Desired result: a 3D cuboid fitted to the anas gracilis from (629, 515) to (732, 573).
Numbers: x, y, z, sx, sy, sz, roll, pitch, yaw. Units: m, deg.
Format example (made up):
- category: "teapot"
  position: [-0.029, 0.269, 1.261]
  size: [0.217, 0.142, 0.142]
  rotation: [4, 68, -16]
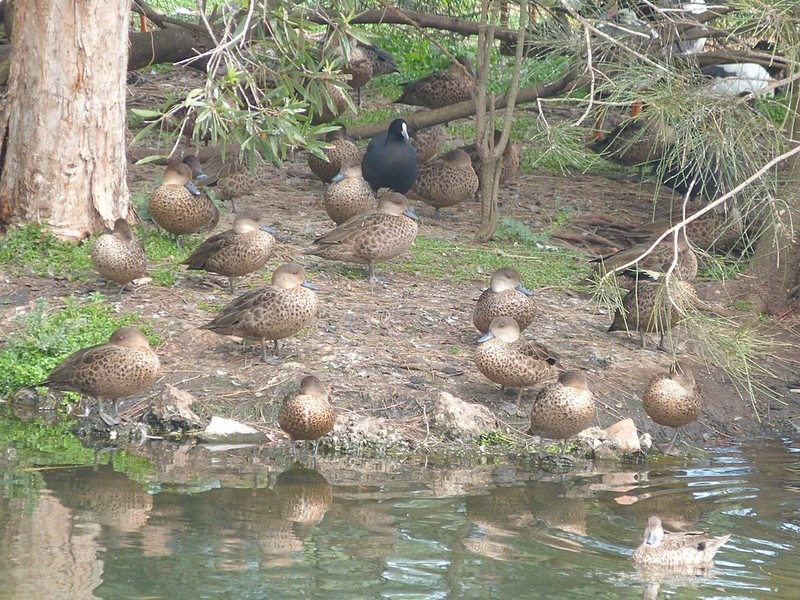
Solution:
- category: "anas gracilis"
  position: [1.713, 1.516, 6.332]
  size: [0.610, 0.302, 0.313]
  rotation: [0, 85, -13]
